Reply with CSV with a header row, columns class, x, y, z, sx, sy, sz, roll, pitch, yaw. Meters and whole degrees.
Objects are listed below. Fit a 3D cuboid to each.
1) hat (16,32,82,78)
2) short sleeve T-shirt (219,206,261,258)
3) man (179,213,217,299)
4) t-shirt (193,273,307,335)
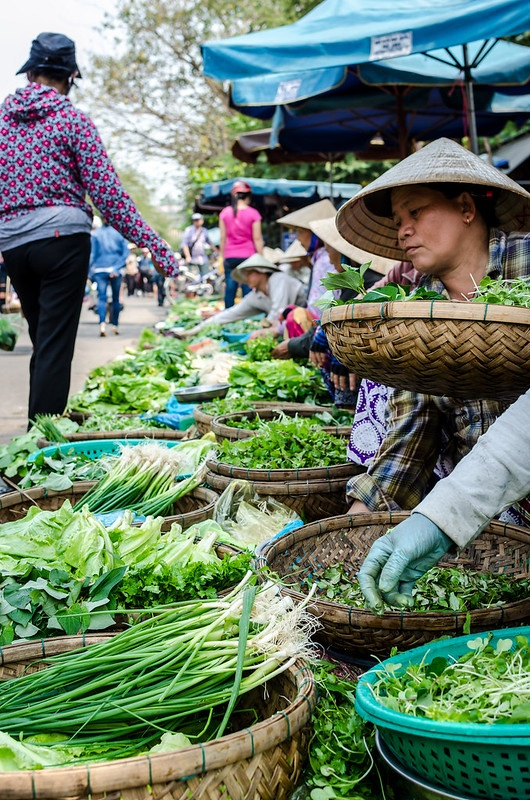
class,x,y,z,sx,sy,sz,roll,pitch,yaw
hat,-1.183,-1.894,4.057,0.312,0.165,0.285,-2,3,-22
short sleeve T-shirt,-0.374,-2.391,10.362,0.693,0.771,0.255,1,4,36
man,-1.740,-3.835,19.655,0.952,2.169,0.642,-5,27,-4
t-shirt,-0.133,-1.139,7.963,1.026,0.331,0.688,-14,-7,-29
